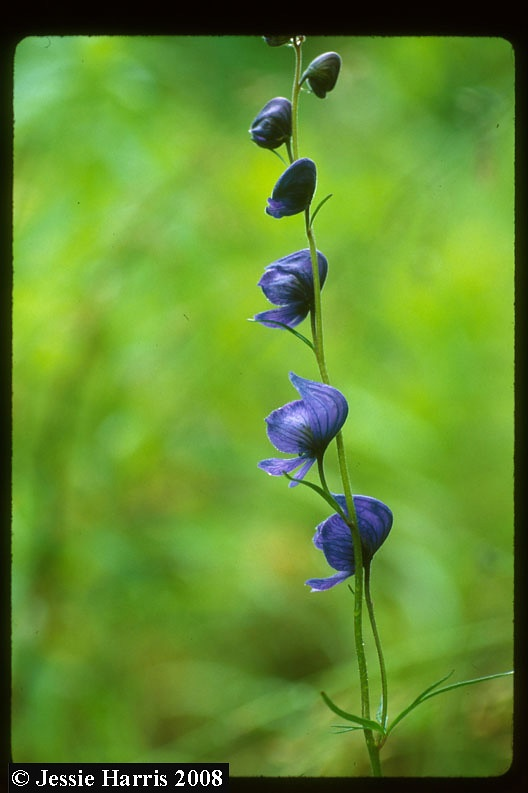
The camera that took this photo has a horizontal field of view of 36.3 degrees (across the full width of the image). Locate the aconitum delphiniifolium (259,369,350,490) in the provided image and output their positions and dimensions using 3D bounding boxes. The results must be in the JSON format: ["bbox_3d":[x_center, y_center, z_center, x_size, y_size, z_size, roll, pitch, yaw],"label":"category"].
[{"bbox_3d":[0.023,0.016,0.603,0.078,0.038,0.073,-29,-41,5],"label":"aconitum delphiniifolium"}]

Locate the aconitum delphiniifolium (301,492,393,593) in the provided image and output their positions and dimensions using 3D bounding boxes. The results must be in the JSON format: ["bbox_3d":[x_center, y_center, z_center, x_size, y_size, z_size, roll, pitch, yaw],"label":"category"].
[{"bbox_3d":[0.070,0.095,0.601,0.053,0.030,0.061,2,6,28],"label":"aconitum delphiniifolium"}]
